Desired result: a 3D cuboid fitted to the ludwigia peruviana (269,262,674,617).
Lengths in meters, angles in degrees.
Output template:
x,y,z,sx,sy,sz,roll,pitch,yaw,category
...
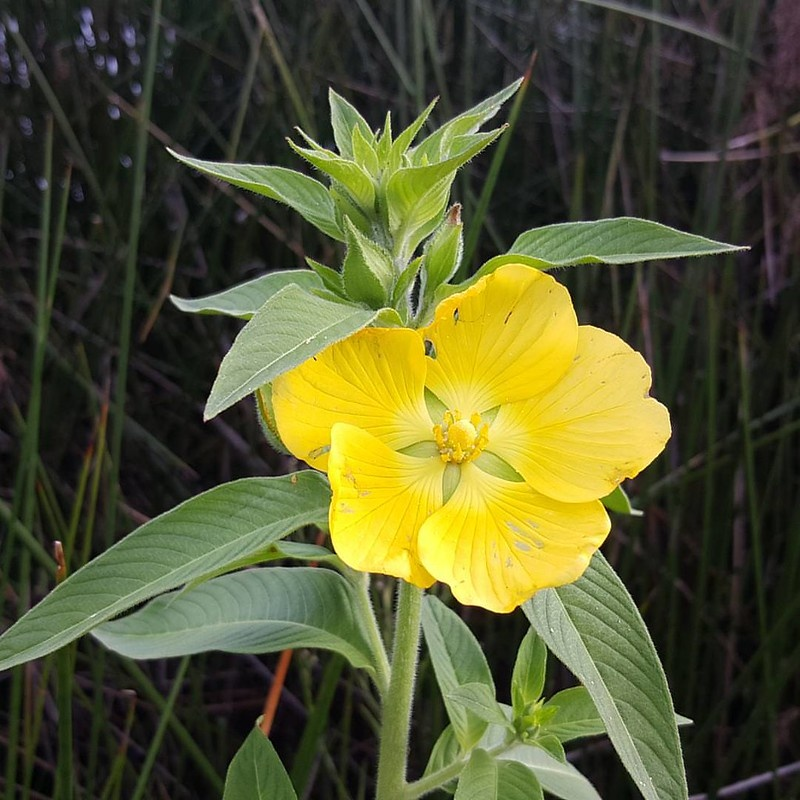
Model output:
x,y,z,sx,sy,sz,roll,pitch,yaw,category
0.149,0.085,1.945,0.685,0.255,0.565,-24,84,-1,ludwigia peruviana
